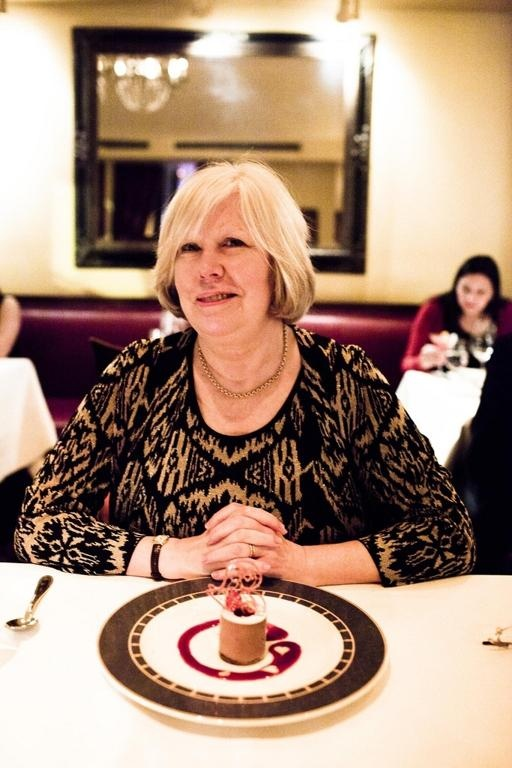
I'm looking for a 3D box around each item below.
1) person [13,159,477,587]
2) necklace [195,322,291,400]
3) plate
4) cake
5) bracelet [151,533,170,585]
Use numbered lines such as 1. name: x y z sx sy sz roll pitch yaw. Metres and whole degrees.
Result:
1. person: -0.025 -0.020 1.243 0.811 0.681 0.490 -1 9 6
2. necklace: -0.024 -0.043 1.221 0.149 0.187 0.030 11 44 -1
3. plate: -0.027 0.302 0.817 0.313 0.041 0.313 6 9 33
4. cake: -0.023 0.259 0.797 0.078 0.105 0.055 8 11 29
5. bracelet: -0.146 0.269 1.063 0.020 0.067 0.069 2 -33 -10
